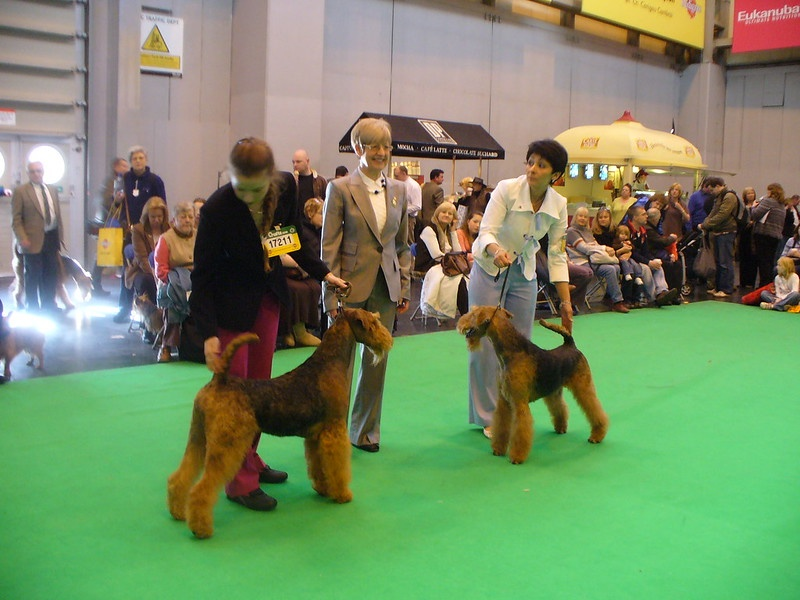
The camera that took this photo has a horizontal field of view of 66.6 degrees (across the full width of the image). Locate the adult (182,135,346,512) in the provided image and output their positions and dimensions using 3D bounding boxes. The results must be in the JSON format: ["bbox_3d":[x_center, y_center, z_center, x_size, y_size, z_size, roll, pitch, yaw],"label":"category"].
[{"bbox_3d":[-0.801,0.172,3.426,0.624,2.050,0.750,12,17,36],"label":"adult"}]

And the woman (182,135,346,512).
[{"bbox_3d":[-0.776,0.190,3.446,0.668,2.095,0.767,14,20,37],"label":"woman"}]

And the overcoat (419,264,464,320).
[{"bbox_3d":[0.572,-0.095,8.190,0.567,0.872,0.454,8,11,31],"label":"overcoat"}]

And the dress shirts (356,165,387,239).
[{"bbox_3d":[-0.200,-0.687,4.243,0.196,0.433,0.091,-10,3,-26],"label":"dress shirts"}]

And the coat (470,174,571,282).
[{"bbox_3d":[0.930,-0.561,4.713,0.677,0.933,0.733,4,13,-14],"label":"coat"}]

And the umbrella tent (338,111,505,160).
[{"bbox_3d":[0.504,-3.428,12.998,3.301,0.878,1.705,-6,10,-37],"label":"umbrella tent"}]

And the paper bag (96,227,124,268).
[{"bbox_3d":[-3.863,-0.695,8.071,0.283,0.530,0.168,0,2,1],"label":"paper bag"}]
